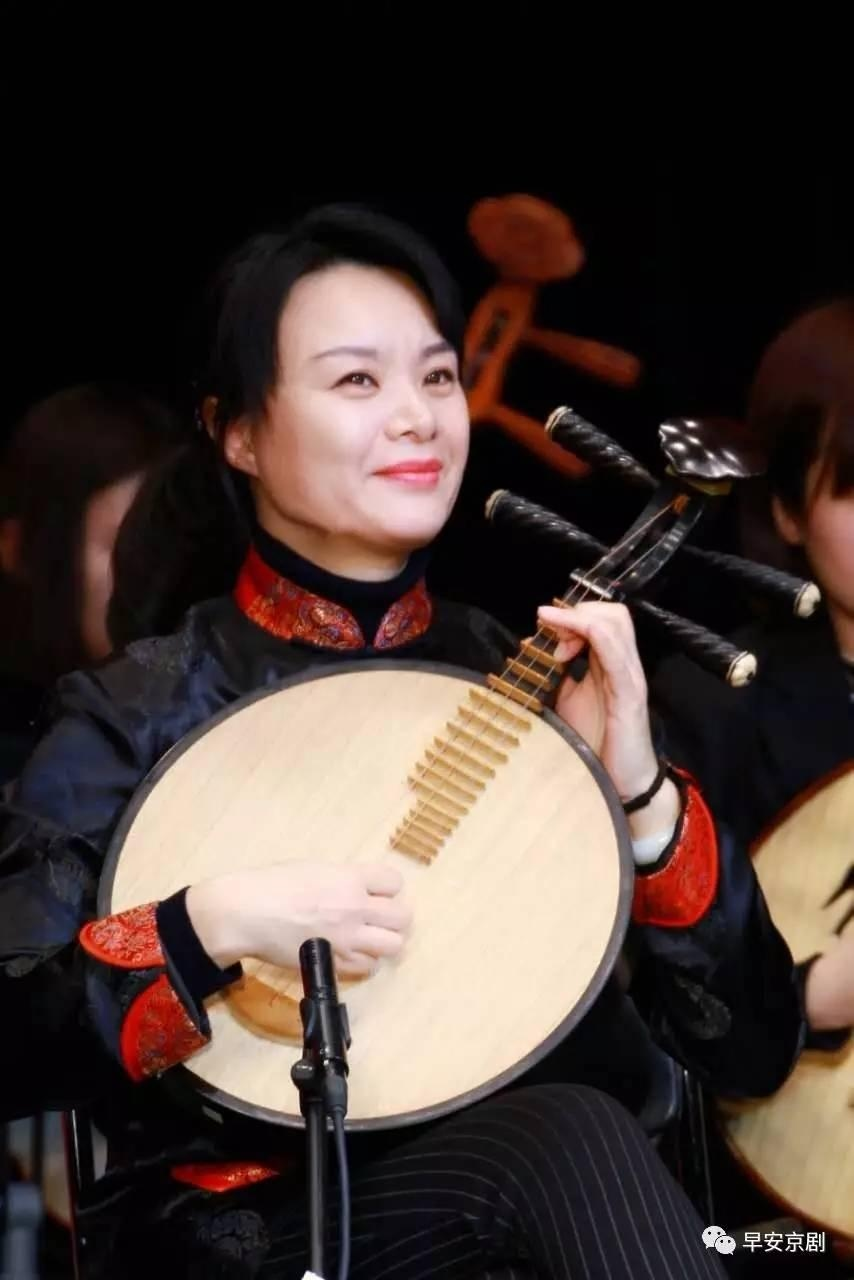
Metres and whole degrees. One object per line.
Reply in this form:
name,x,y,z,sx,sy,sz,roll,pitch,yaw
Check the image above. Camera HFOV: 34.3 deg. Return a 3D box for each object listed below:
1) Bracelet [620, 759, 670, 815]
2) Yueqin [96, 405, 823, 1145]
Bracelet,0.260,0.177,1.635,0.018,0.072,0.055,48,-6,-9
Yueqin,0.072,0.121,1.397,0.447,0.153,0.789,34,55,20
